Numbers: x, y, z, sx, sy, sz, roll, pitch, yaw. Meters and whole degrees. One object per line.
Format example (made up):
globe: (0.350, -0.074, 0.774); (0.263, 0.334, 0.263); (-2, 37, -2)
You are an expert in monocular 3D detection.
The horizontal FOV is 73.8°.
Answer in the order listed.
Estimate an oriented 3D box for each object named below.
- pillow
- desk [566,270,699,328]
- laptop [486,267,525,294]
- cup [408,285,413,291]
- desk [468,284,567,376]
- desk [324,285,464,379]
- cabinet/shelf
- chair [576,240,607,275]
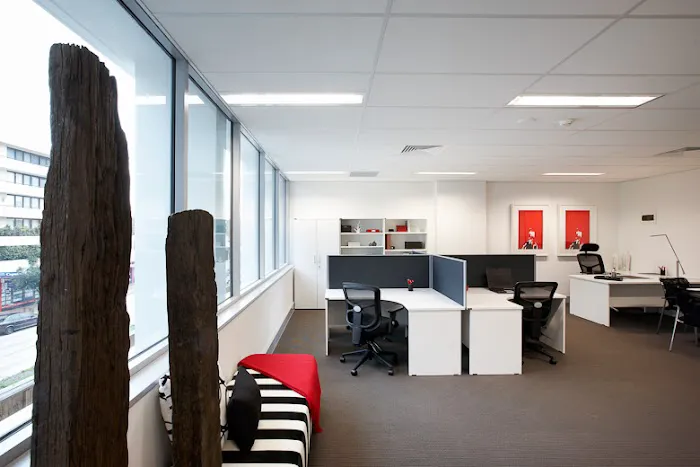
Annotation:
pillow: (-1.047, 1.255, 3.446); (0.214, 0.673, 0.685); (-20, -7, 13)
desk: (4.050, 0.969, 7.231); (1.082, 0.487, 1.047); (0, 6, 1)
laptop: (2.007, 0.612, 6.168); (0.353, 0.232, 0.323); (0, 0, 0)
cup: (0.795, 0.720, 6.097); (0.057, 0.060, 0.058); (1, 3, 0)
desk: (1.685, 1.141, 5.510); (1.025, 0.588, 0.979); (1, 3, 1)
desk: (0.697, 1.073, 5.388); (1.093, 0.498, 1.057); (0, 4, -1)
cabinet/shelf: (0.631, 0.052, 8.763); (1.644, 0.671, 0.442); (0, 12, -1)
chair: (4.182, 0.403, 8.043); (0.556, 0.823, 0.527); (0, -3, 23)
